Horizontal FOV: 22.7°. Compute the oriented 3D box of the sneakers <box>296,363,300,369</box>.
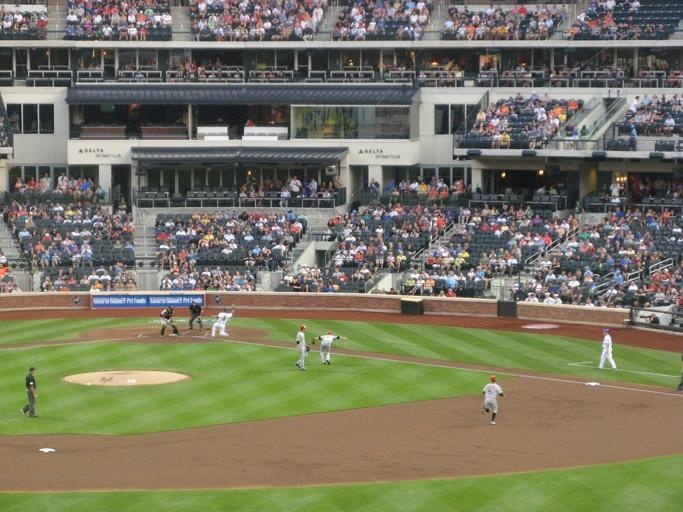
[{"bbox_3d":[-2.106,5.145,80.322,0.101,0.269,0.513,0,5,-10],"label":"sneakers"}]

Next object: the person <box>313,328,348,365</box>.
[{"bbox_3d":[-0.767,4.263,81.506,1.319,1.414,0.324,9,43,7],"label":"person"}]

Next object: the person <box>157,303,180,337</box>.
[{"bbox_3d":[-8.788,3.177,86.560,0.949,1.558,2.788,0,5,-6],"label":"person"}]

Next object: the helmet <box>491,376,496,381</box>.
[{"bbox_3d":[6.483,5.242,73.006,0.216,0.233,0.288,2,-12,-4],"label":"helmet"}]

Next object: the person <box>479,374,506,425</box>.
[{"bbox_3d":[6.481,6.227,73.837,1.127,2.159,1.056,0,10,-18],"label":"person"}]

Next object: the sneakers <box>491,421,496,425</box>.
[{"bbox_3d":[6.545,7.268,74.057,0.183,0.136,0.099,0,6,21],"label":"sneakers"}]
